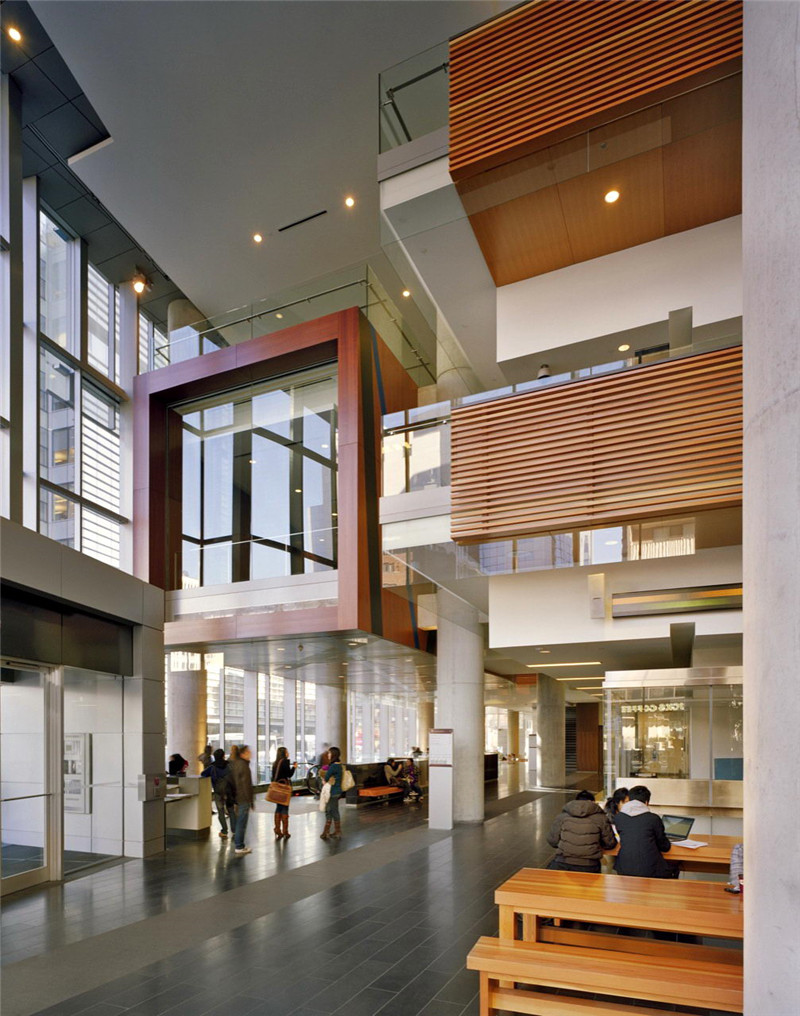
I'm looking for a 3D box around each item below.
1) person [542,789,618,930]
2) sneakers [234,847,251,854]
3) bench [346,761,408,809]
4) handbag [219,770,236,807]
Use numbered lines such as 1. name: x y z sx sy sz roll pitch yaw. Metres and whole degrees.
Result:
1. person: 1.373 2.554 7.103 0.456 0.781 0.430 0 -1 1
2. sneakers: -1.914 4.180 11.327 0.177 0.066 0.389 1 -12 -5
3. bench: -0.473 5.839 19.791 0.959 0.816 2.537 -3 -13 12
4. handbag: -2.152 3.509 11.629 0.141 0.437 0.360 7 -14 -31
